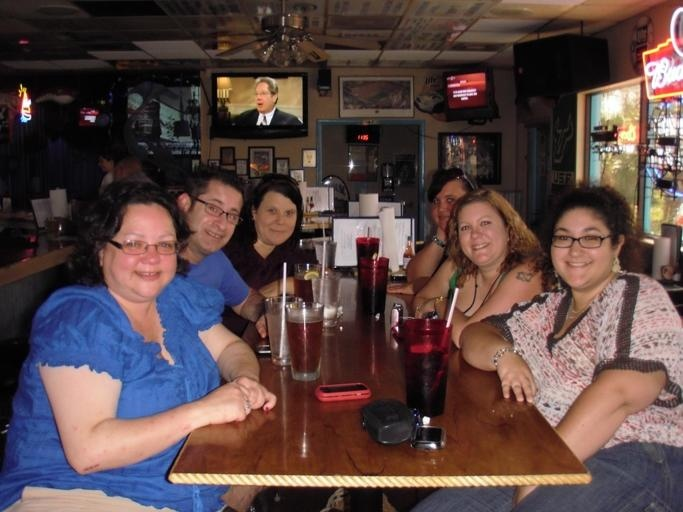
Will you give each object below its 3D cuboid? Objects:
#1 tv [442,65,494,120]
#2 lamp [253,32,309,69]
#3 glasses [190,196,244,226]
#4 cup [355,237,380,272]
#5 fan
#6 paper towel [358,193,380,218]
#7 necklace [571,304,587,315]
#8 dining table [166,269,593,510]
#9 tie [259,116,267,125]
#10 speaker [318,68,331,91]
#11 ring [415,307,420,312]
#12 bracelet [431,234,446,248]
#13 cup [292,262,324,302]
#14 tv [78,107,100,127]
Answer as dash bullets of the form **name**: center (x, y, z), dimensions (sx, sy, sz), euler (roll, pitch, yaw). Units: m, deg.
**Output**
- **tv**: center (1.653, -2.127, 7.294), dimensions (0.707, 0.670, 0.411), euler (2, 16, 34)
- **lamp**: center (-0.444, -1.549, 4.169), dimensions (0.374, 0.170, 0.505), euler (-2, 9, -8)
- **glasses**: center (-0.554, -0.236, 2.580), dimensions (0.142, 0.042, 0.142), euler (27, 4, -47)
- **cup**: center (0.117, -0.022, 2.910), dimensions (0.150, 0.238, 0.159), euler (0, 1, 0)
- **fan**: center (-0.441, -1.625, 4.431), dimensions (1.175, 0.458, 1.090), euler (-1, 3, -1)
- **paper towel**: center (0.227, -0.405, 4.371), dimensions (0.203, 0.229, 0.200), euler (-3, 7, -21)
- **necklace**: center (0.842, 0.191, 1.999), dimensions (0.033, 0.013, 0.034), euler (-16, 11, -17)
- **dining table**: center (0.094, 0.489, 1.699), dimensions (1.017, 0.197, 0.716), euler (-1, 9, 0)
- **tie**: center (-1.032, -1.818, 7.481), dimensions (0.081, 0.031, 0.125), euler (0, 43, -1)
- **speaker**: center (-0.231, -2.413, 7.571), dimensions (0.230, 0.316, 0.168), euler (4, 19, -2)
- **ring**: center (0.331, 0.229, 2.426), dimensions (0.017, 0.027, 0.027), euler (-4, -17, 11)
- **bracelet**: center (0.589, -0.101, 3.440), dimensions (0.072, 0.018, 0.068), euler (12, 28, -37)
- **cup**: center (-0.144, 0.103, 2.452), dimensions (0.144, 0.235, 0.147), euler (0, 8, 0)
- **tv**: center (-3.622, -2.018, 8.065), dimensions (0.355, 0.256, 0.095), euler (2, 10, 17)
